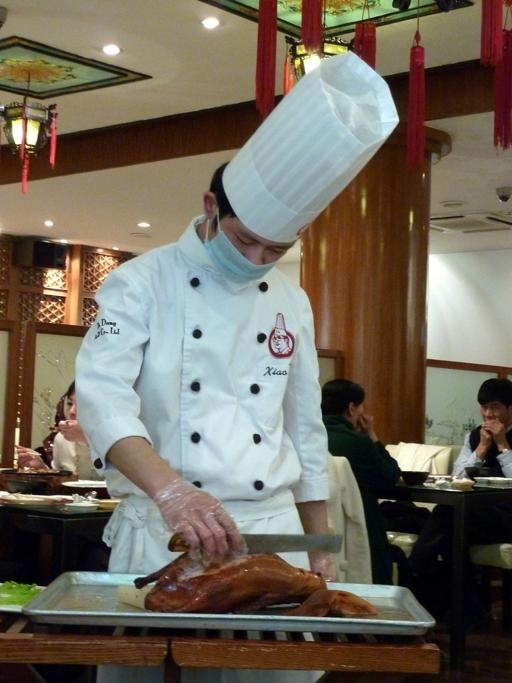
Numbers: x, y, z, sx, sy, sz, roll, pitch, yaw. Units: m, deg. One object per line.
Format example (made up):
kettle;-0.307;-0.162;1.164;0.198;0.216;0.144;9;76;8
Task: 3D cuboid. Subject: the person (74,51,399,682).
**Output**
person;-0.015;0.029;1.034;0.507;1.112;0.449;4;3;-23

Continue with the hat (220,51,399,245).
hat;0.086;-0.294;1.016;0.299;0.264;0.137;-2;-5;32

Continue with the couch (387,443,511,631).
couch;1.134;1.080;3.586;0.795;0.830;0.763;-1;5;-35

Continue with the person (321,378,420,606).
person;0.462;0.905;3.267;0.492;1.317;0.355;3;5;32

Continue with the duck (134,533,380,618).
duck;-0.007;0.280;0.755;0.247;0.097;0.108;3;-5;-29
